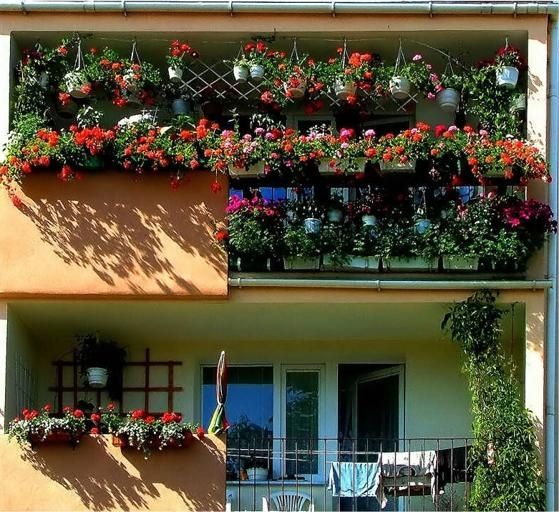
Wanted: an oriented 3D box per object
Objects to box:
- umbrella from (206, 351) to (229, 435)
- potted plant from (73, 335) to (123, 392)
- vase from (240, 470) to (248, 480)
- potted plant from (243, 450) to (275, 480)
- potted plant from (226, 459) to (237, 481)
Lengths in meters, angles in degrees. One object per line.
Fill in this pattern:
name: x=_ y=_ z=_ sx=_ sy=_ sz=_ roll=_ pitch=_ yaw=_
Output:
umbrella: x=-0.668 y=1.467 z=15.805 sx=0.226 sy=0.944 sz=0.571 roll=0 pitch=-13 yaw=-3
potted plant: x=-2.123 y=1.274 z=17.453 sx=0.688 sy=0.742 sz=0.600 roll=4 pitch=-28 yaw=-6
vase: x=-0.422 y=2.586 z=17.267 sx=0.087 sy=0.157 sz=0.098 roll=-6 pitch=-43 yaw=-10
potted plant: x=-0.249 y=2.466 z=17.251 sx=0.354 sy=0.395 sz=0.493 roll=-1 pitch=-14 yaw=0
potted plant: x=-0.560 y=2.540 z=17.318 sx=0.121 sy=0.250 sz=0.093 roll=1 pitch=-13 yaw=-7
